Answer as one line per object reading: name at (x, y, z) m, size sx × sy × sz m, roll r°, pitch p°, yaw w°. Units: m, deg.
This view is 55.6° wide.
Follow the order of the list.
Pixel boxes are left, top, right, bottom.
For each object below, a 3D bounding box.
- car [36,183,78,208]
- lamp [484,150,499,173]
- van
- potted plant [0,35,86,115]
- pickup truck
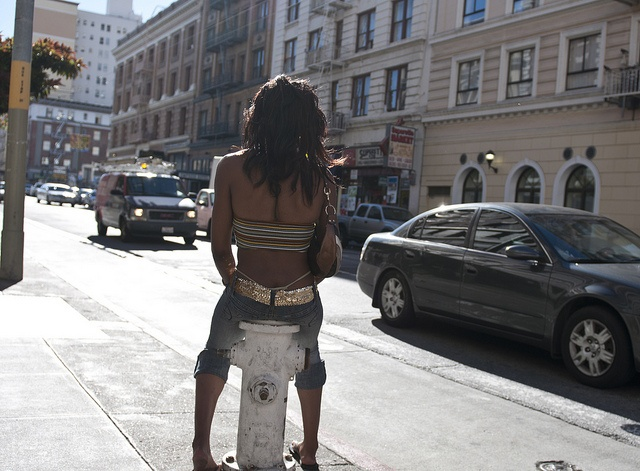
car at (-21.098, -3.291, 48.768) m, size 1.997 × 1.582 × 4.916 m, roll -1°, pitch 7°, yaw -36°
lamp at (6.960, -3.011, 24.690) m, size 0.630 × 0.951 × 0.424 m, roll 6°, pitch 6°, yaw 35°
van at (-5.934, -0.941, 20.084) m, size 1.870 × 1.650 × 3.712 m, roll 2°, pitch 0°, yaw -26°
potted plant at (-6.625, -3.912, 14.082) m, size 2.060 × 1.463 × 1.442 m, roll 6°, pitch 6°, yaw 30°
pickup truck at (2.093, -0.567, 23.961) m, size 1.460 × 1.550 × 3.210 m, roll -1°, pitch -2°, yaw -38°
